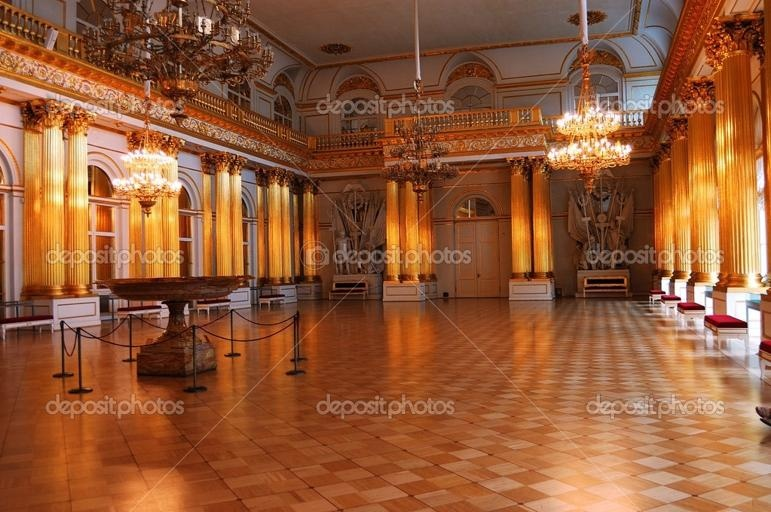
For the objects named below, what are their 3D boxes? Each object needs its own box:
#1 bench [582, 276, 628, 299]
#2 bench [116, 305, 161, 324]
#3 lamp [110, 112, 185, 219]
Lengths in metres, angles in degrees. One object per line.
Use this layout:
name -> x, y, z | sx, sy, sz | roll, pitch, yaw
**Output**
bench -> 8.110, 1.132, 21.577 | 1.610, 0.784, 0.662 | -3, -3, 16
bench -> -6.693, 1.525, 15.870 | 1.157, 0.400, 1.442 | -1, -3, -23
lamp -> -5.812, -2.232, 14.227 | 1.614, 2.252, 1.489 | 1, 8, -3
